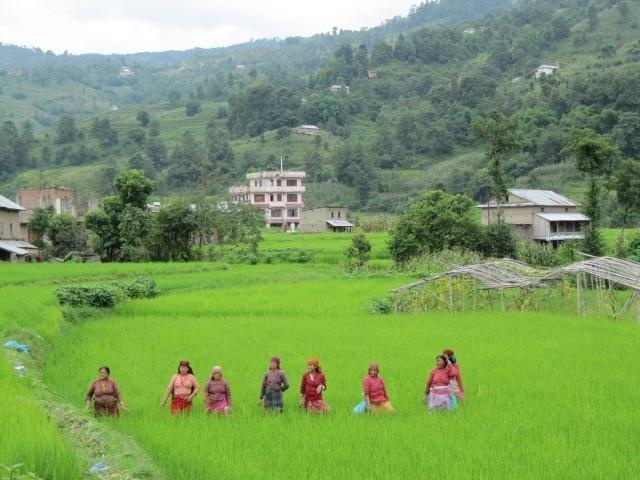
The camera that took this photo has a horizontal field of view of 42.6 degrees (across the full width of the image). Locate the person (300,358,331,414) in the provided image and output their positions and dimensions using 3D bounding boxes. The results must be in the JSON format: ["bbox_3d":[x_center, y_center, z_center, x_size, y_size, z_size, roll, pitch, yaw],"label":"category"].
[{"bbox_3d":[-0.231,5.107,29.326,0.932,1.907,0.515,-1,11,-2],"label":"person"}]

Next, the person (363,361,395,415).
[{"bbox_3d":[2.089,5.407,29.938,1.127,2.145,0.891,-11,11,-26],"label":"person"}]

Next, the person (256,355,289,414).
[{"bbox_3d":[-1.704,5.463,29.289,0.900,2.531,0.564,3,-28,-2],"label":"person"}]

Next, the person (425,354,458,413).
[{"bbox_3d":[4.232,5.325,29.529,1.112,2.427,0.705,1,-24,7],"label":"person"}]

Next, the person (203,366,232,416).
[{"bbox_3d":[-3.653,5.225,29.258,0.940,1.745,0.613,-2,11,-9],"label":"person"}]

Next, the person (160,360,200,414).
[{"bbox_3d":[-5.048,5.599,29.718,1.109,2.794,0.940,2,23,-15],"label":"person"}]

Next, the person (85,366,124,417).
[{"bbox_3d":[-7.730,5.682,29.570,1.248,2.666,0.697,1,30,-14],"label":"person"}]
